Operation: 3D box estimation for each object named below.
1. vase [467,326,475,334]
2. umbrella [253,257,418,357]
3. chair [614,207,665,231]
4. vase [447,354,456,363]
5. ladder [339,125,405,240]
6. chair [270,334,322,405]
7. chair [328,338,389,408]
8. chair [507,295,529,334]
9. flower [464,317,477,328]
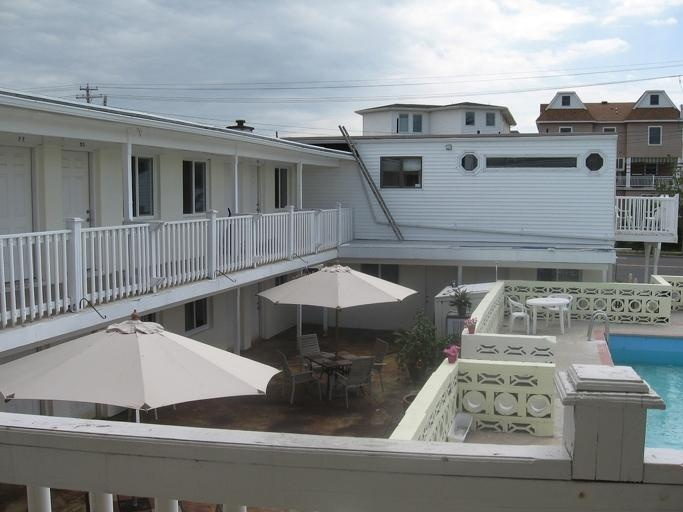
[{"bbox_3d":[2.384,1.360,14.019,0.125,0.100,0.117,2,-3,22],"label":"vase"},{"bbox_3d":[-0.198,1.229,15.883,2.225,1.382,2.241,5,8,28],"label":"umbrella"},{"bbox_3d":[9.165,-1.165,23.590,1.027,0.662,1.001,0,3,-10],"label":"chair"},{"bbox_3d":[1.737,1.623,12.044,0.125,0.093,0.119,0,4,19],"label":"vase"},{"bbox_3d":[1.009,-2.251,24.916,0.188,4.688,0.502,-23,-2,-40],"label":"ladder"},{"bbox_3d":[-0.978,2.678,17.123,1.276,1.723,1.192,-3,15,-12],"label":"chair"},{"bbox_3d":[0.632,2.596,17.390,1.292,1.694,1.206,3,0,-27],"label":"chair"},{"bbox_3d":[4.443,1.507,19.296,0.804,1.113,0.916,-2,5,12],"label":"chair"},{"bbox_3d":[2.389,1.231,14.125,0.188,0.128,0.180,-5,6,-31],"label":"flower"}]
